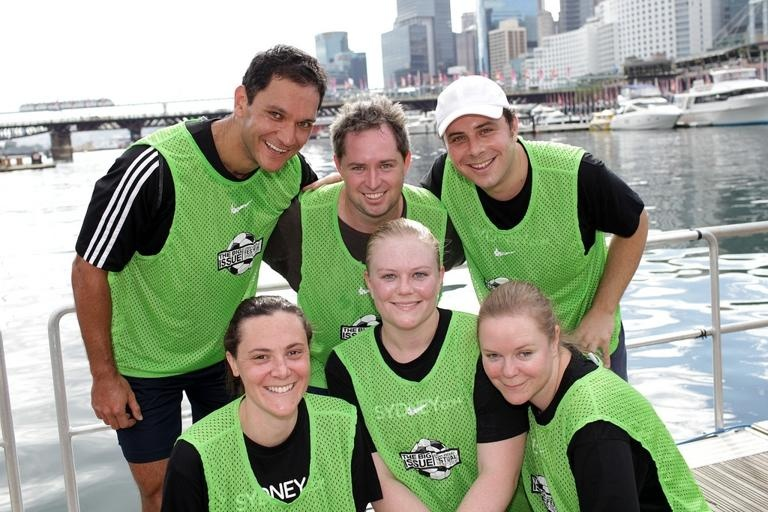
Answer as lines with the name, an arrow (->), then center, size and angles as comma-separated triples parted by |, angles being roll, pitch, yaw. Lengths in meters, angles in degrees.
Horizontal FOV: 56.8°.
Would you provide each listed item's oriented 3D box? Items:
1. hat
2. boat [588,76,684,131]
hat -> 0.569, -0.998, 4.698 | 0.347, 0.254, 0.468 | -21, 7, 21
boat -> 22.577, -13.521, 65.296 | 4.481, 4.490, 12.590 | -6, 5, -18
